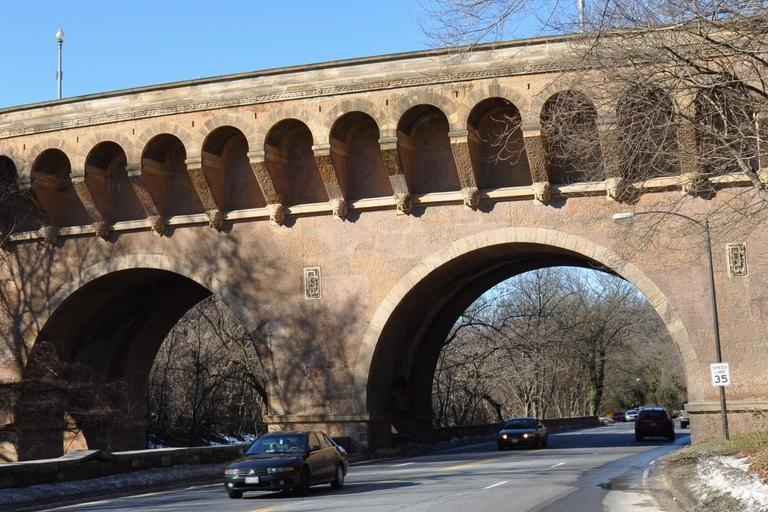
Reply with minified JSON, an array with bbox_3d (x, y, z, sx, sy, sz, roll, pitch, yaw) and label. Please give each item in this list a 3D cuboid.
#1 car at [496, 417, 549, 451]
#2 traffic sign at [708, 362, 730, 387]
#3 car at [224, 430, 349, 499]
[{"bbox_3d":[6.763,8.699,58.499,1.843,1.659,2.747,-12,-15,22],"label":"car"},{"bbox_3d":[13.616,4.809,48.097,0.707,0.963,0.759,-8,-13,11],"label":"traffic sign"},{"bbox_3d":[-3.512,7.182,41.200,4.121,2.268,2.182,-3,-13,-12],"label":"car"}]
